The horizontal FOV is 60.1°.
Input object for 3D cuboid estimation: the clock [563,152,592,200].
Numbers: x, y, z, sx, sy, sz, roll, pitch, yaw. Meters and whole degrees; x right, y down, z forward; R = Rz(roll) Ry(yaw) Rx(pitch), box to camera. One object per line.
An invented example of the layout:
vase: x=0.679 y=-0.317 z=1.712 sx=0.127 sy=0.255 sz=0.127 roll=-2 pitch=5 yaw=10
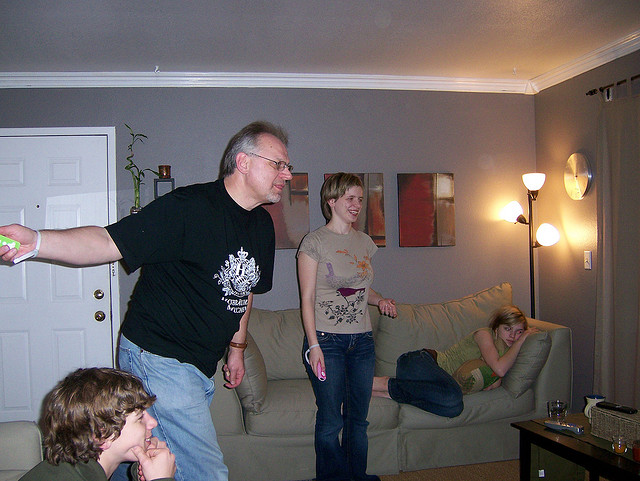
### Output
clock: x=2.133 y=-0.542 z=4.574 sx=0.048 sy=0.379 sz=0.330 roll=-3 pitch=15 yaw=-14

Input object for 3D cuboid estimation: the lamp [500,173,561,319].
lamp: x=1.868 y=0.045 z=4.854 sx=0.484 sy=1.067 sz=0.394 roll=-3 pitch=1 yaw=44

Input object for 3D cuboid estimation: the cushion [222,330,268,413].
cushion: x=-0.445 y=0.902 z=3.789 sx=0.180 sy=0.477 sz=0.488 roll=-4 pitch=-10 yaw=2

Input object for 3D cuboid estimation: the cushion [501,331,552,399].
cushion: x=1.456 y=0.872 z=4.014 sx=0.150 sy=0.426 sz=0.413 roll=19 pitch=-8 yaw=42

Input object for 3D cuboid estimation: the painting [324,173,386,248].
painting: x=0.247 y=-0.231 z=4.072 sx=0.578 sy=0.781 sz=0.029 roll=2 pitch=-3 yaw=-12

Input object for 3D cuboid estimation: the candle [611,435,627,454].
candle: x=1.659 y=1.133 z=3.068 sx=0.067 sy=0.088 sz=0.083 roll=7 pitch=-9 yaw=-33

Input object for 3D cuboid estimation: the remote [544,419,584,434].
remote: x=1.459 y=1.108 z=3.309 sx=0.141 sy=0.035 sz=0.075 roll=-1 pitch=-9 yaw=36

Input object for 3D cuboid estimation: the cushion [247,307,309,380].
cushion: x=-0.306 y=0.788 z=4.284 sx=0.553 sy=0.584 sz=0.188 roll=-2 pitch=-23 yaw=-14

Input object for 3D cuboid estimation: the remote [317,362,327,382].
remote: x=0.015 y=0.803 z=3.387 sx=0.054 sy=0.105 sz=0.020 roll=-10 pitch=-3 yaw=-10

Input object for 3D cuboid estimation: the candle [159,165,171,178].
candle: x=-1.247 y=-0.565 z=4.529 sx=0.092 sy=0.098 sz=0.090 roll=2 pitch=-1 yaw=-44

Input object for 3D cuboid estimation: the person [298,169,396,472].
person: x=0.140 y=0.520 z=3.629 sx=0.580 sy=1.834 sz=0.281 roll=-4 pitch=1 yaw=-32

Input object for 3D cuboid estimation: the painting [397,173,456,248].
painting: x=0.907 y=-0.273 z=4.850 sx=0.600 sy=0.743 sz=0.047 roll=-2 pitch=0 yaw=-7
